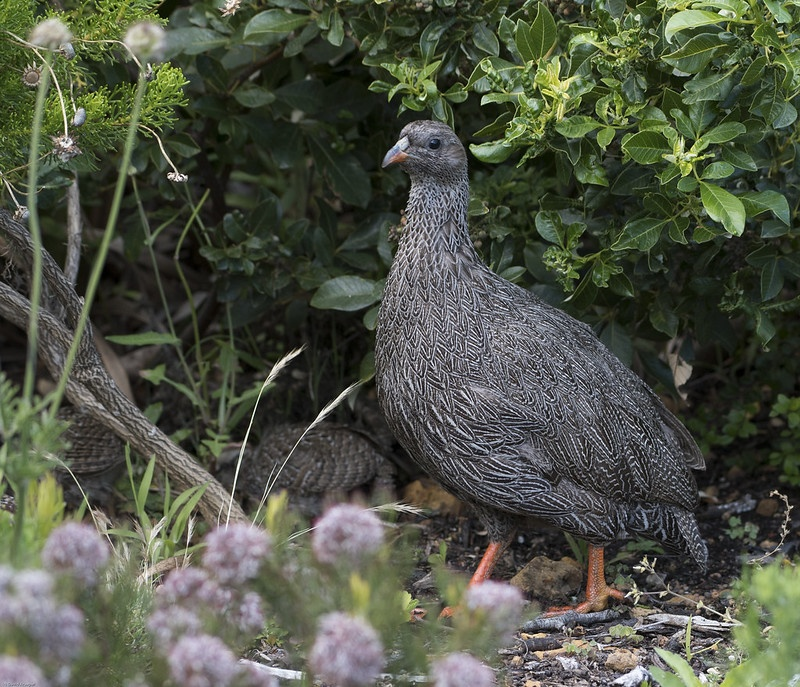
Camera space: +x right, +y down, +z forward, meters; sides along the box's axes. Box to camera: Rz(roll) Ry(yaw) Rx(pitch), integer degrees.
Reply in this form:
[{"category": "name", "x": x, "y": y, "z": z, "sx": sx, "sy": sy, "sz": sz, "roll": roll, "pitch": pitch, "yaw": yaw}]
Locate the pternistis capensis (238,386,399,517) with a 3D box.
[{"category": "pternistis capensis", "x": -0.313, "y": 0.471, "z": 4.281, "sx": 0.590, "sy": 0.377, "sz": 0.424, "roll": 21, "pitch": -36, "yaw": -17}]
